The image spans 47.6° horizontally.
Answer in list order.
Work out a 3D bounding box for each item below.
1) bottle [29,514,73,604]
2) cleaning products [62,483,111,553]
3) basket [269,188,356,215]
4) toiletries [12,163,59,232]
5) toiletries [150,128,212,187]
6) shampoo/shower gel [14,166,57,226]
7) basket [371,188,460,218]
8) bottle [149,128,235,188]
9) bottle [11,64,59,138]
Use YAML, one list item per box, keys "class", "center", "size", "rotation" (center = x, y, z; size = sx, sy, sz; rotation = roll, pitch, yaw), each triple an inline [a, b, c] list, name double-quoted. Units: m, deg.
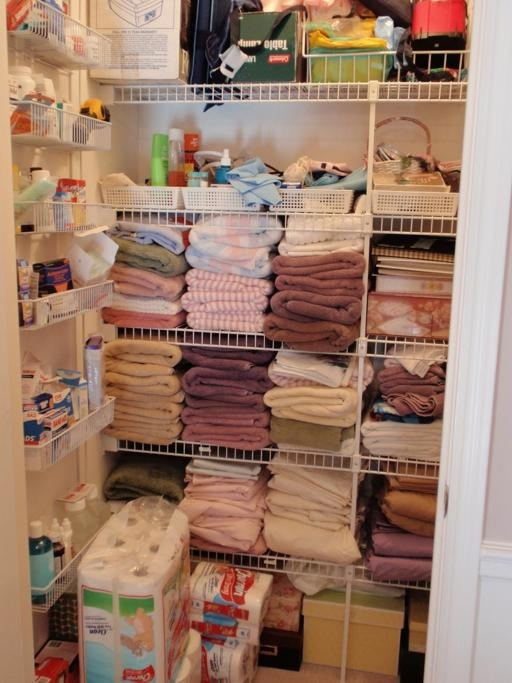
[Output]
- class: "bottle"
  center: [-0.528, 0.557, 1.490]
  size: [0.070, 0.205, 0.095]
  rotation: [3, 12, 8]
- class: "cleaning products"
  center: [-0.513, 0.533, 1.740]
  size: [0.070, 0.185, 0.144]
  rotation: [-2, 12, 14]
- class: "basket"
  center: [0.181, -0.447, 1.841]
  size: [0.241, 0.079, 0.036]
  rotation: [1, 12, 10]
- class: "toiletries"
  center: [-0.508, -0.332, 1.351]
  size: [0.054, 0.157, 0.106]
  rotation: [4, 15, 8]
- class: "toiletries"
  center: [-0.257, -0.623, 1.987]
  size: [0.161, 0.221, 0.123]
  rotation: [7, 18, 22]
- class: "shampoo/shower gel"
  center: [-0.506, -0.337, 1.348]
  size: [0.052, 0.143, 0.102]
  rotation: [4, 15, 7]
- class: "basket"
  center: [0.474, -0.414, 1.738]
  size: [0.247, 0.084, 0.052]
  rotation: [1, 12, 10]
- class: "bottle"
  center: [-0.243, -0.609, 2.016]
  size: [0.184, 0.224, 0.286]
  rotation: [12, 20, 40]
- class: "bottle"
  center: [-0.501, -0.532, 1.319]
  size: [0.068, 0.166, 0.114]
  rotation: [3, 16, 1]
